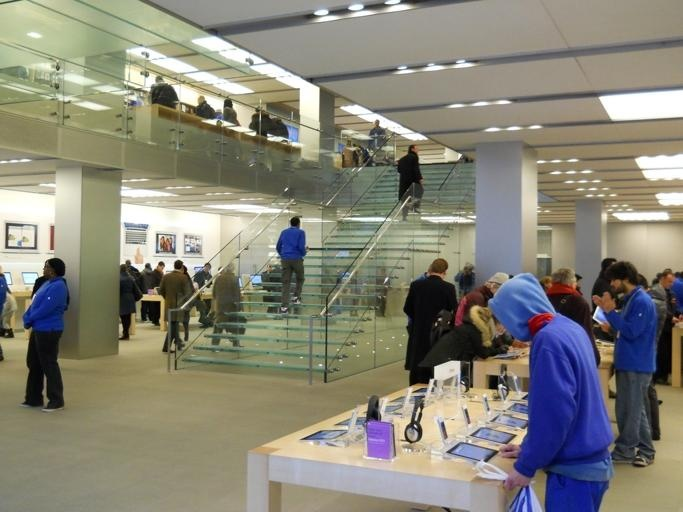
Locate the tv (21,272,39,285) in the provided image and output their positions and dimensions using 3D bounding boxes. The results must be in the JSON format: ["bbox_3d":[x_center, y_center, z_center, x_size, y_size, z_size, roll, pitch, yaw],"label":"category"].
[{"bbox_3d":[-8.153,0.598,14.003,0.162,0.357,0.511,-6,-3,26],"label":"tv"}]

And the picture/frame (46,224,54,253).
[{"bbox_3d":[-8.600,-0.541,15.915,0.059,0.794,0.150,1,-1,6],"label":"picture/frame"}]

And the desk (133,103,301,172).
[{"bbox_3d":[-2.991,-2.729,12.706,1.238,0.727,5.368,1,-1,28],"label":"desk"}]

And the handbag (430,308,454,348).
[{"bbox_3d":[1.106,0.819,6.055,0.152,0.369,0.369,21,4,5],"label":"handbag"}]

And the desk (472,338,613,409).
[{"bbox_3d":[1.787,1.186,6.113,1.350,0.775,2.341,5,0,23],"label":"desk"}]

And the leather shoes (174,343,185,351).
[{"bbox_3d":[-3.074,1.724,10.166,0.131,0.131,0.143,-2,-2,26],"label":"leather shoes"}]
